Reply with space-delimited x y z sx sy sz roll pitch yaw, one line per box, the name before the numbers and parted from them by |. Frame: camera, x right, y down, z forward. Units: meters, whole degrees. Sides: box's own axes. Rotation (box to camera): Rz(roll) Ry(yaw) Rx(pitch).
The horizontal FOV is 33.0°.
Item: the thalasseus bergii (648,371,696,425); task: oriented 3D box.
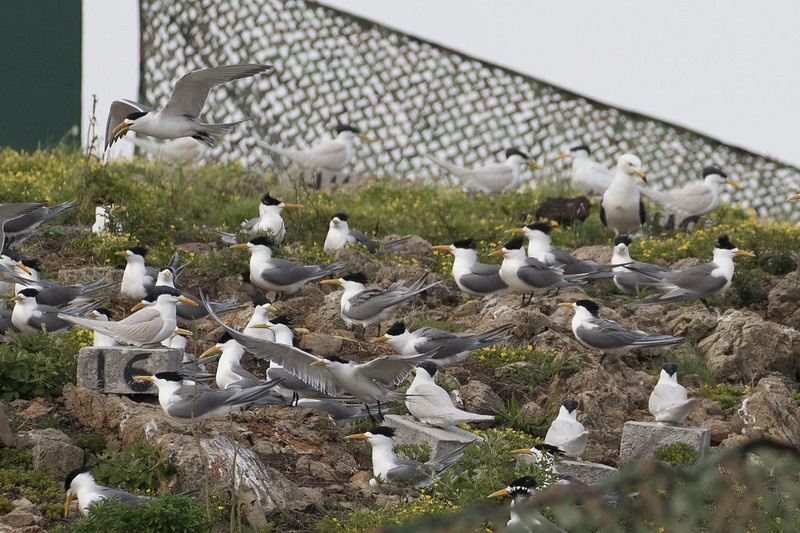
thalasseus bergii | 3.930 1.887 19.500 0.623 0.783 0.344 7 6 10
